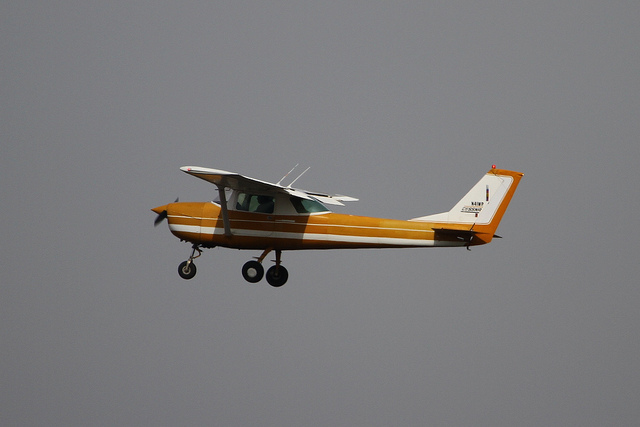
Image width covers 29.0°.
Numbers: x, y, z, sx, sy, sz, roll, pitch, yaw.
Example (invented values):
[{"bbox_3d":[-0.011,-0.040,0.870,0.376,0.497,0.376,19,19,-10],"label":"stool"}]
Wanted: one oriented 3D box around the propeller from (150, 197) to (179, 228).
[{"bbox_3d":[-3.000,0.009,24.635,0.681,0.203,0.523,-2,-79,9],"label":"propeller"}]
